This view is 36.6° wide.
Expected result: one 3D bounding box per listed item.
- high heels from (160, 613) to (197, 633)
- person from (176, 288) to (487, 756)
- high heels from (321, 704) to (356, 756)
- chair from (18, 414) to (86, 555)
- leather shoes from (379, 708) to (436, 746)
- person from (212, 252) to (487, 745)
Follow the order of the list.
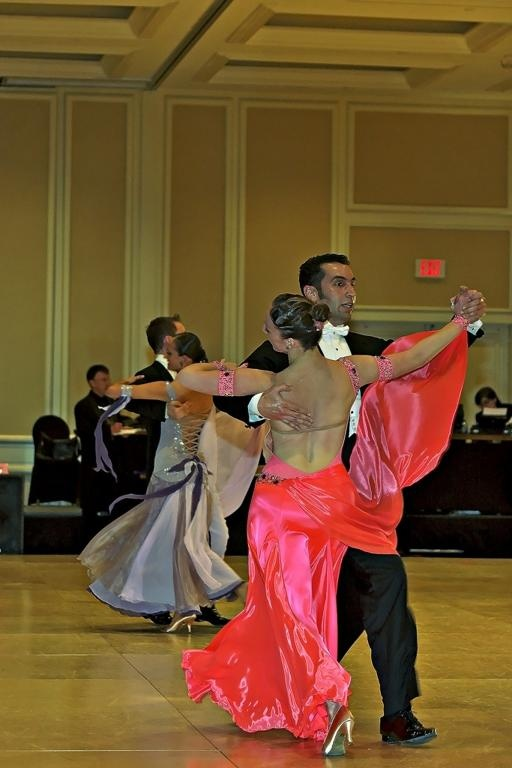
[{"bbox_3d":[-0.369,1.139,3.708,0.210,0.077,0.071,-4,-4,35],"label":"high heels"},{"bbox_3d":[0.141,0.346,2.069,0.697,1.119,0.381,0,-9,11],"label":"person"},{"bbox_3d":[0.199,0.819,1.843,0.071,0.124,0.047,4,-9,-10],"label":"high heels"},{"bbox_3d":[-1.993,0.965,7.648,0.700,1.326,0.608,11,-6,-31],"label":"chair"},{"bbox_3d":[0.373,0.870,1.988,0.173,0.080,0.073,-7,-7,33],"label":"leather shoes"},{"bbox_3d":[0.155,0.354,2.150,0.681,1.127,0.700,0,-6,-31],"label":"person"}]
